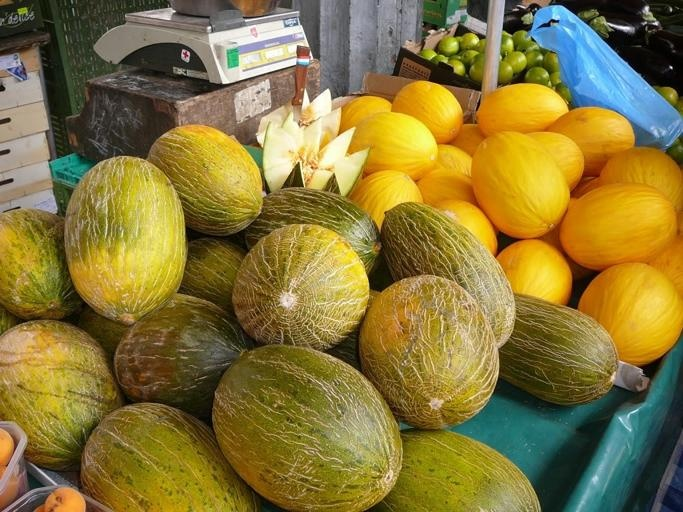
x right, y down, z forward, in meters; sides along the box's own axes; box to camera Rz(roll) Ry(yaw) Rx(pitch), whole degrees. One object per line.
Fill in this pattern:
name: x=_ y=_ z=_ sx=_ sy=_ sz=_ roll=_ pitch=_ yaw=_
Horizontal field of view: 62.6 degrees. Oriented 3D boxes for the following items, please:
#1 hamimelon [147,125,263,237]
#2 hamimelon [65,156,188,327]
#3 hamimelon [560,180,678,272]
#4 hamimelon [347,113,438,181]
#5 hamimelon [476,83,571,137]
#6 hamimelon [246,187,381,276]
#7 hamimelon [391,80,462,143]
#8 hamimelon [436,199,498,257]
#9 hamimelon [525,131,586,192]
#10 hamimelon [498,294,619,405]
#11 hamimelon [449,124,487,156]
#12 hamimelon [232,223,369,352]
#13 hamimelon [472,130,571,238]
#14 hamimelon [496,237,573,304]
hamimelon: x=-0.363 y=-0.197 z=1.627 sx=0.324 sy=0.242 sz=0.243 roll=45 pitch=69 yaw=8
hamimelon: x=-0.531 y=0.006 z=1.428 sx=0.238 sy=0.234 sz=0.429 roll=1 pitch=78 yaw=-10
hamimelon: x=0.931 y=-0.128 z=1.947 sx=0.320 sy=0.277 sz=0.251 roll=-15 pitch=13 yaw=11
hamimelon: x=0.188 y=-0.405 z=2.065 sx=0.266 sy=0.231 sz=0.219 roll=18 pitch=38 yaw=7
hamimelon: x=0.749 y=-0.611 z=2.337 sx=0.310 sy=0.204 sz=0.216 roll=-6 pitch=66 yaw=2
hamimelon: x=-0.094 y=-0.051 z=1.701 sx=0.425 sy=0.296 sz=0.289 roll=7 pitch=-6 yaw=21
hamimelon: x=0.372 y=-0.639 z=2.385 sx=0.279 sy=0.248 sz=0.267 roll=4 pitch=26 yaw=21
hamimelon: x=0.425 y=-0.135 z=1.923 sx=0.194 sy=0.184 sz=0.303 roll=4 pitch=24 yaw=10
hamimelon: x=0.789 y=-0.373 z=2.069 sx=0.216 sy=0.187 sz=0.178 roll=20 pitch=27 yaw=5
hamimelon: x=0.604 y=0.255 z=1.699 sx=0.387 sy=0.221 sz=0.209 roll=29 pitch=8 yaw=30
hamimelon: x=0.534 y=-0.491 z=2.358 sx=0.119 sy=0.127 sz=0.167 roll=11 pitch=80 yaw=-10
hamimelon: x=-0.106 y=0.082 z=1.373 sx=0.336 sy=0.226 sz=0.222 roll=3 pitch=37 yaw=5
hamimelon: x=0.586 y=-0.246 z=1.978 sx=0.258 sy=0.271 sz=0.363 roll=-32 pitch=70 yaw=-17
hamimelon: x=0.654 y=0.012 z=1.909 sx=0.231 sy=0.213 sz=0.259 roll=-9 pitch=22 yaw=-24
